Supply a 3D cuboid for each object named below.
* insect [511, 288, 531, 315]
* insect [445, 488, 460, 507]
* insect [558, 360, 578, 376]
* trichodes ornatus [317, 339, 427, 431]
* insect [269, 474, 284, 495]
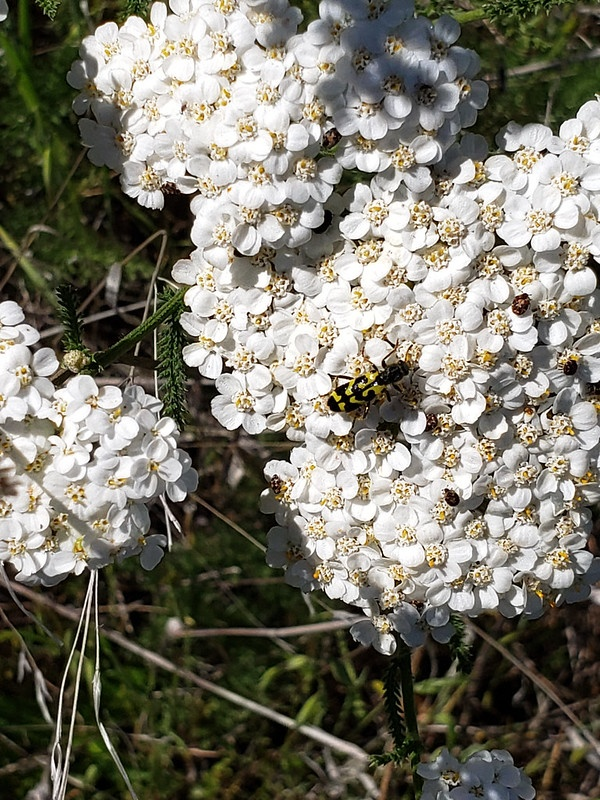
[{"bbox_3d":[1.033,-0.458,4.011,0.087,0.032,0.101,44,109,23],"label":"insect"},{"bbox_3d":[0.737,0.463,4.112,0.070,0.024,0.077,-15,90,-7],"label":"insect"},{"bbox_3d":[1.321,-0.162,4.177,0.082,0.016,0.072,5,97,-9],"label":"insect"},{"bbox_3d":[0.344,-0.071,4.057,0.416,0.123,0.287,-31,90,22],"label":"trichodes ornatus"},{"bbox_3d":[-0.116,0.445,4.611,0.091,0.038,0.099,-5,95,37],"label":"insect"}]
